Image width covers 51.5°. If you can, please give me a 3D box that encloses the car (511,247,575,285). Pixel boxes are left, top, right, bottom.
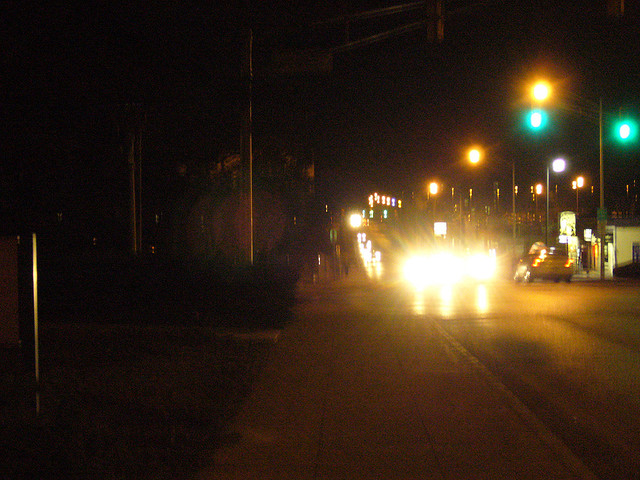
[{"bbox_3d":[11.065,1.227,32.736,2.581,1.814,2.056,4,5,34],"label":"car"}]

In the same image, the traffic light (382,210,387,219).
[{"bbox_3d":[10.363,-4.400,105.731,0.454,1.018,1.321,0,4,-5],"label":"traffic light"}]
